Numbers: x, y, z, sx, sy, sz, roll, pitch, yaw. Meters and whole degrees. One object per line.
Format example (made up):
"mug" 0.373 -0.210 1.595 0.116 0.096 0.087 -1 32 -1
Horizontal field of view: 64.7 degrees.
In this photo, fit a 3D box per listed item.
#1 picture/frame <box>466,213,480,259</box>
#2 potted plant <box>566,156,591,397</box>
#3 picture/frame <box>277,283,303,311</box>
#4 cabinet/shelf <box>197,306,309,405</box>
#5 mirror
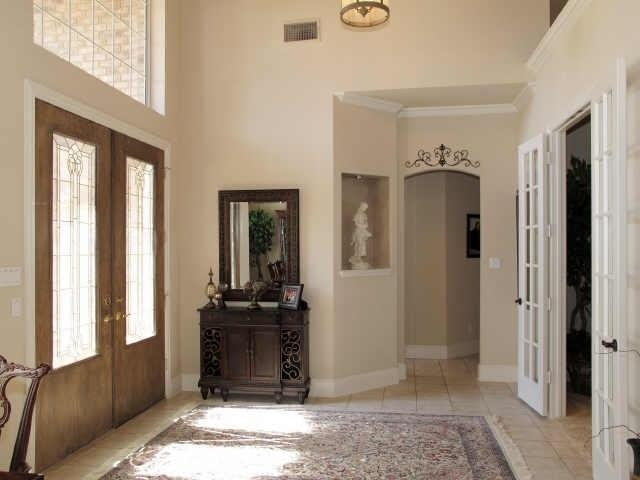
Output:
"picture/frame" 2.422 -0.066 8.009 0.297 0.698 0.076 -3 5 -42
"potted plant" 2.983 0.408 5.839 0.332 2.742 0.214 3 5 43
"picture/frame" -0.333 0.647 5.807 0.271 0.326 0.053 -1 -27 26
"cabinet/shelf" -0.748 1.289 5.765 0.966 0.932 0.431 0 -2 9
"mirror" -0.691 0.067 6.013 1.204 1.749 0.060 0 -2 3
